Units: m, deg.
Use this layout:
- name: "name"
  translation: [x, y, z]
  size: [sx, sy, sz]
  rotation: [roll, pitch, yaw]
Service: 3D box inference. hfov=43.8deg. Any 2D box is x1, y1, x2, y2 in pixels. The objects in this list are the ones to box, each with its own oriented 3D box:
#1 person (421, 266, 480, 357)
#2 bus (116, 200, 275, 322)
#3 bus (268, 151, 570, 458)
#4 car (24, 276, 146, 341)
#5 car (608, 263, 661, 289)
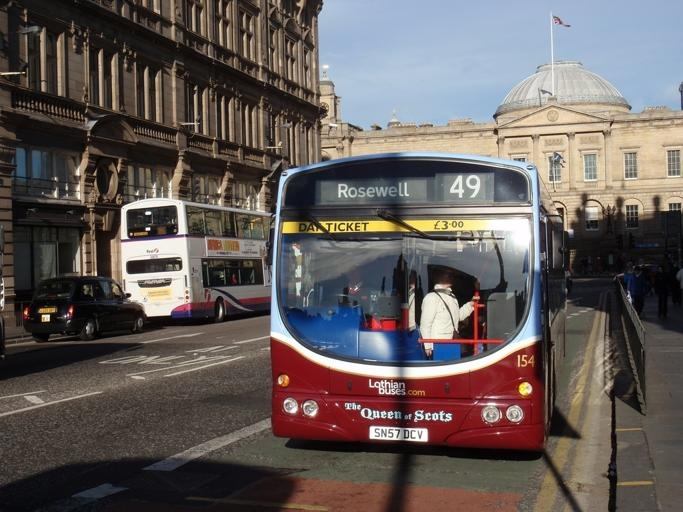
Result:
- name: "person"
  translation: [1.257, 0.670, 10.010]
  size: [0.635, 1.007, 0.203]
  rotation: [0, 2, 9]
- name: "bus"
  translation: [-4.621, 0.169, 31.804]
  size: [2.755, 4.364, 7.409]
  rotation: [1, 2, 35]
- name: "bus"
  translation: [0.812, 0.546, 10.112]
  size: [2.056, 2.126, 4.948]
  rotation: [0, -3, 13]
- name: "car"
  translation: [-7.520, 1.500, 25.232]
  size: [1.327, 1.817, 3.025]
  rotation: [1, 2, 34]
- name: "car"
  translation: [12.759, 0.888, 36.796]
  size: [2.486, 1.203, 1.387]
  rotation: [3, -2, 3]
